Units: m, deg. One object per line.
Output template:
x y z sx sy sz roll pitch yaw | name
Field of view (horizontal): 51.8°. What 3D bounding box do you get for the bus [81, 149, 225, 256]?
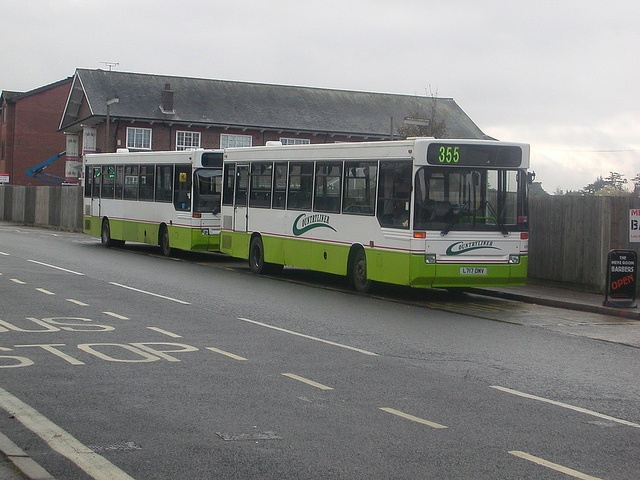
-6.758 -1.528 27.037 8.224 4.036 2.828 5 6 39 | bus
